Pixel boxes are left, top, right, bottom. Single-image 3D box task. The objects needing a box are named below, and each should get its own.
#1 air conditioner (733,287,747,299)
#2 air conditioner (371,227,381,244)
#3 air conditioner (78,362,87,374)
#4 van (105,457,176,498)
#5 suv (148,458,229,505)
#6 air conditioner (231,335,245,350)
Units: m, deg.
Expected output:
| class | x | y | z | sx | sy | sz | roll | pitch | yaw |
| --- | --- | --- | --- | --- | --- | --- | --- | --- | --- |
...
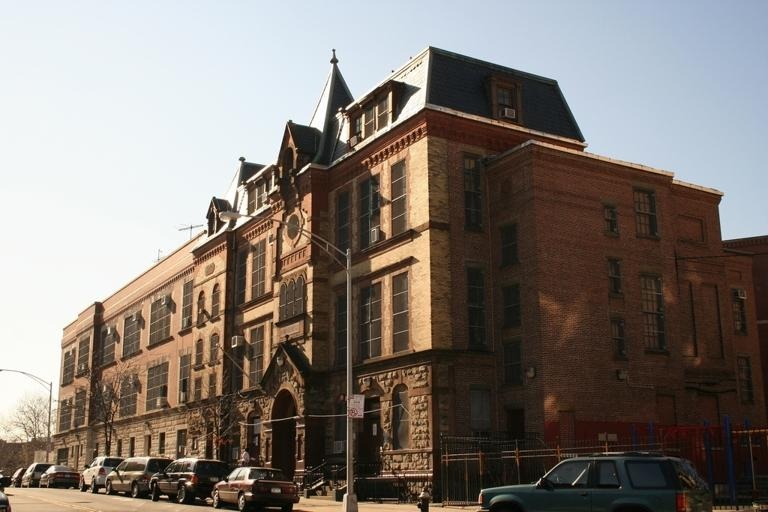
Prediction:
| class | x | y | z | sx | sy | sz | roll | pitch | yaw |
| --- | --- | --- | --- | --- | --- | --- | --- | --- | --- |
| air conditioner | 23.329 | 2.421 | 55.455 | 0.599 | 0.753 | 1.086 | 0 | 4 | -41 |
| air conditioner | -0.542 | -1.327 | 52.178 | 0.437 | 0.782 | 0.840 | 8 | -22 | -18 |
| air conditioner | -34.533 | 12.681 | 96.328 | 0.377 | 1.333 | 1.410 | 18 | -11 | -41 |
| van | -15.387 | 13.752 | 51.863 | 6.580 | 2.767 | 2.895 | -11 | -15 | 43 |
| suv | -11.110 | 12.763 | 47.958 | 2.445 | 2.008 | 4.877 | 15 | -21 | -37 |
| air conditioner | -11.018 | 6.611 | 63.884 | 0.833 | 1.092 | 1.595 | 7 | -17 | -27 |
